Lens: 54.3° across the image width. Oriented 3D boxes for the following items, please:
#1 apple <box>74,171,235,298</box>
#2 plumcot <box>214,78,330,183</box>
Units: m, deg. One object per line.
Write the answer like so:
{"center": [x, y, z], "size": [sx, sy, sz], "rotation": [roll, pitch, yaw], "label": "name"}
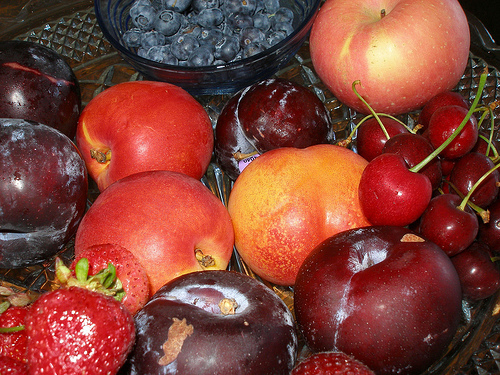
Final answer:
{"center": [-0.226, 0.034, 1.190], "size": [0.333, 0.274, 0.403], "rotation": [-19, 30, -32], "label": "apple"}
{"center": [0.054, -0.165, 1.357], "size": [0.244, 0.239, 0.306], "rotation": [-7, 27, -1], "label": "plumcot"}
